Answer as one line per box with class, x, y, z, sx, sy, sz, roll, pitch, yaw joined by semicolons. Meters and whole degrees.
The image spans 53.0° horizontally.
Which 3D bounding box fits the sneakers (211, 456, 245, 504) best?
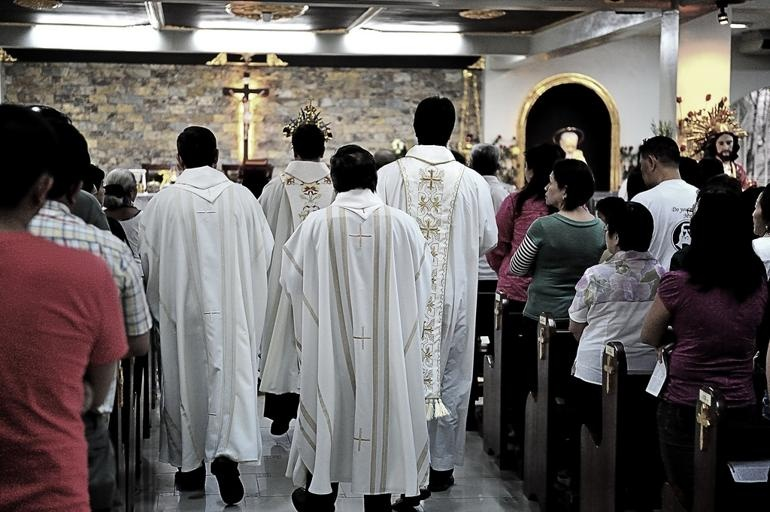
sneakers;-0.846;1.227;4.223;0.137;0.309;0.137;-9;-5;-7
